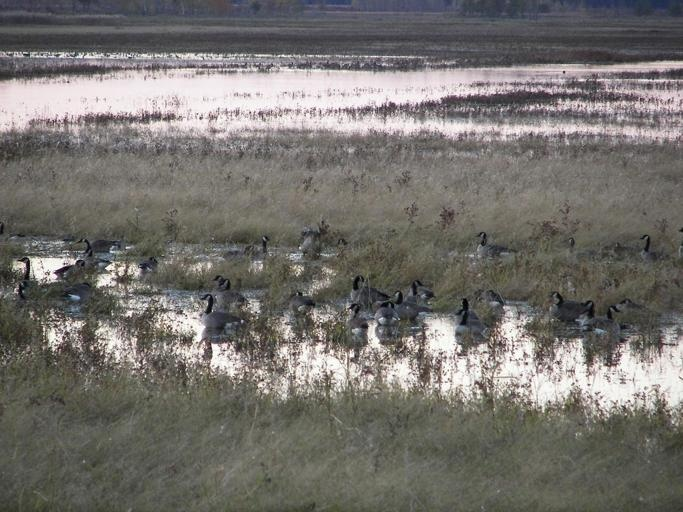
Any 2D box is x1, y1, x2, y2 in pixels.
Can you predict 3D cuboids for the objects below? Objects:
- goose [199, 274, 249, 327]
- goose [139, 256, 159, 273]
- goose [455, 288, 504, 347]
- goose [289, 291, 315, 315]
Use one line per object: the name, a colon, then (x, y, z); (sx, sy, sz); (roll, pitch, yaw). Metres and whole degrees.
goose: (-5.498, 2.200, 63.676); (1.159, 2.892, 2.087); (-5, 100, -22)
goose: (-9.013, 0.418, 66.216); (0.435, 1.160, 0.819); (2, 95, 12)
goose: (6.325, 2.982, 63.833); (1.664, 1.787, 2.522); (2, 101, -7)
goose: (-1.805, 2.183, 64.225); (0.512, 1.746, 1.101); (-1, 98, -15)
